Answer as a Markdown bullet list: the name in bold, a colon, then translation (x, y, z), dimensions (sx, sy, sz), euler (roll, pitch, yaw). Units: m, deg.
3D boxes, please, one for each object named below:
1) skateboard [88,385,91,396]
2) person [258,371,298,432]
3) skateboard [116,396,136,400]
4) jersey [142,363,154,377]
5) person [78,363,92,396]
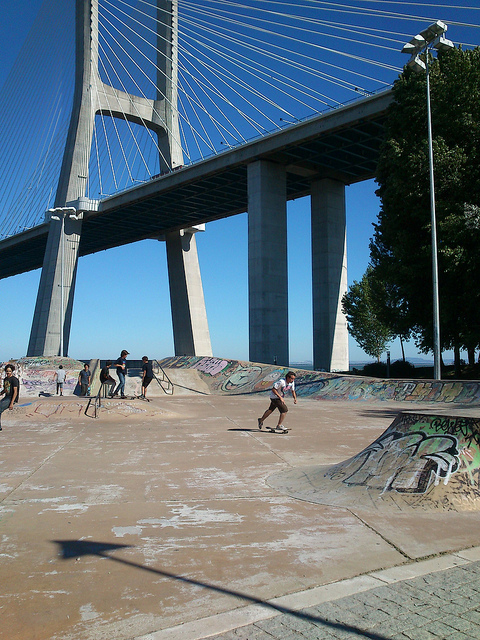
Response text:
- **skateboard**: translation (-6.849, 3.215, 20.443), dimensions (0.095, 0.324, 1.581), euler (1, -7, -18)
- **person**: translation (0.859, 1.888, 10.441), dimensions (0.789, 1.314, 1.829), euler (-2, -7, 4)
- **skateboard**: translation (-4.072, 2.771, 16.002), dimensions (0.450, 0.097, 0.302), euler (2, 0, -24)
- **jersey**: translation (-3.468, 1.888, 16.994), dimensions (0.314, 0.520, 0.361), euler (1, -8, -18)
- **person**: translation (-6.741, 2.627, 19.526), dimensions (0.419, 1.317, 1.053), euler (2, -8, -23)
